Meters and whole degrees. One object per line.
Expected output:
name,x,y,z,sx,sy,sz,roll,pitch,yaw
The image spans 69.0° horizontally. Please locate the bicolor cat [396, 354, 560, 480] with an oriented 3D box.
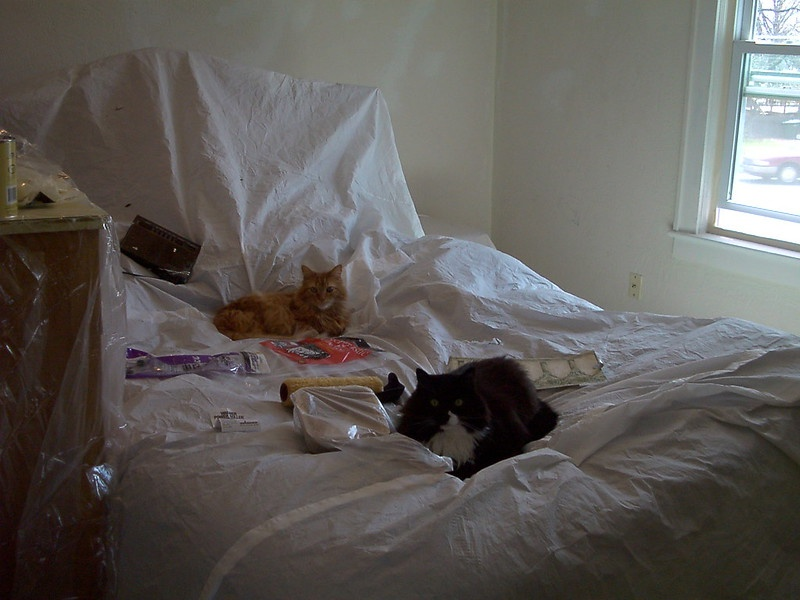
bicolor cat,0.186,0.245,1.332,0.251,0.196,0.350,12,14,41
